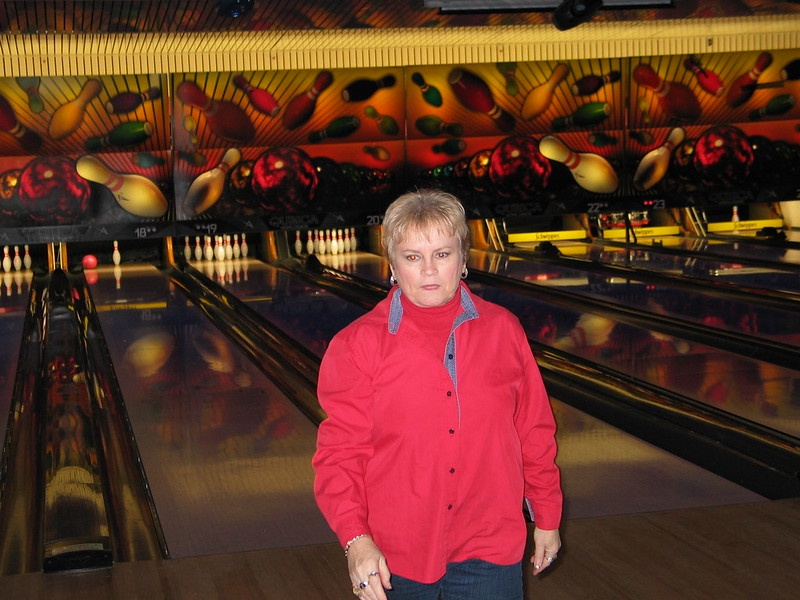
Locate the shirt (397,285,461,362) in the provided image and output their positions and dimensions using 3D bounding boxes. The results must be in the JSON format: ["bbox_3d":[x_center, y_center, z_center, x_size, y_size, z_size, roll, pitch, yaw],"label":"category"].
[{"bbox_3d":[0.059,0.042,0.909,0.139,0.095,0.106,0,-2,31],"label":"shirt"}]
